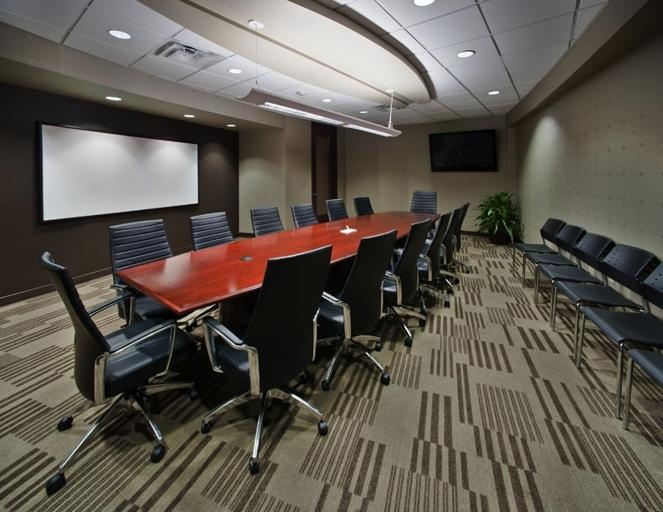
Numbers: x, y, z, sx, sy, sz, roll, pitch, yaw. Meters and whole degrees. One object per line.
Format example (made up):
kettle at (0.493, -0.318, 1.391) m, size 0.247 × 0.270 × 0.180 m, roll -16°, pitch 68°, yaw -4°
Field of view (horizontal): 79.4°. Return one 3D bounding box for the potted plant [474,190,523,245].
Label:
potted plant at (2.400, -0.556, 5.984) m, size 0.678 × 0.754 × 0.727 m, roll -3°, pitch 3°, yaw -21°

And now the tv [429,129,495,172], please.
tv at (1.947, -1.681, 6.317) m, size 0.697 × 0.476 × 0.098 m, roll 1°, pitch 19°, yaw 22°
